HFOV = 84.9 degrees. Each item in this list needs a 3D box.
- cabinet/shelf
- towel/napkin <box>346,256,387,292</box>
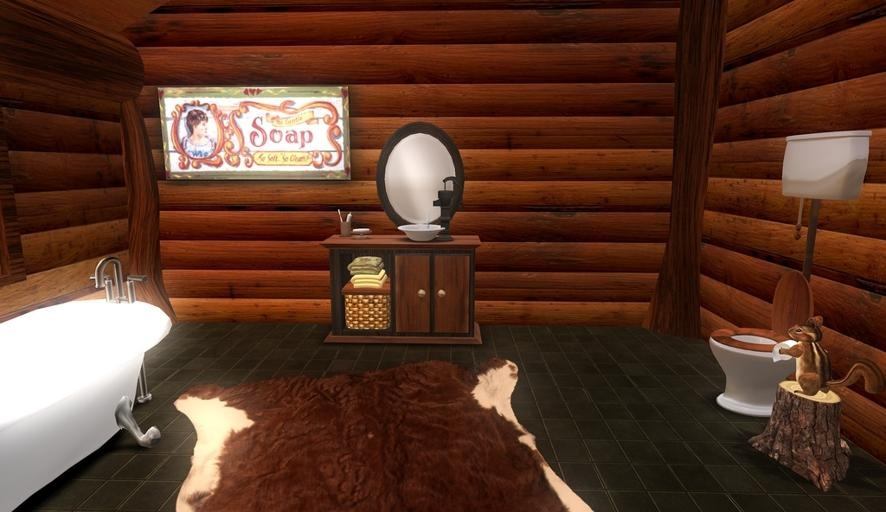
[{"bbox_3d":[-0.394,0.351,4.810,1.819,0.557,0.745,0,-85,2],"label":"cabinet/shelf"},{"bbox_3d":[-0.760,0.173,4.820,0.379,0.405,0.155,0,-86,-1],"label":"towel/napkin"}]
